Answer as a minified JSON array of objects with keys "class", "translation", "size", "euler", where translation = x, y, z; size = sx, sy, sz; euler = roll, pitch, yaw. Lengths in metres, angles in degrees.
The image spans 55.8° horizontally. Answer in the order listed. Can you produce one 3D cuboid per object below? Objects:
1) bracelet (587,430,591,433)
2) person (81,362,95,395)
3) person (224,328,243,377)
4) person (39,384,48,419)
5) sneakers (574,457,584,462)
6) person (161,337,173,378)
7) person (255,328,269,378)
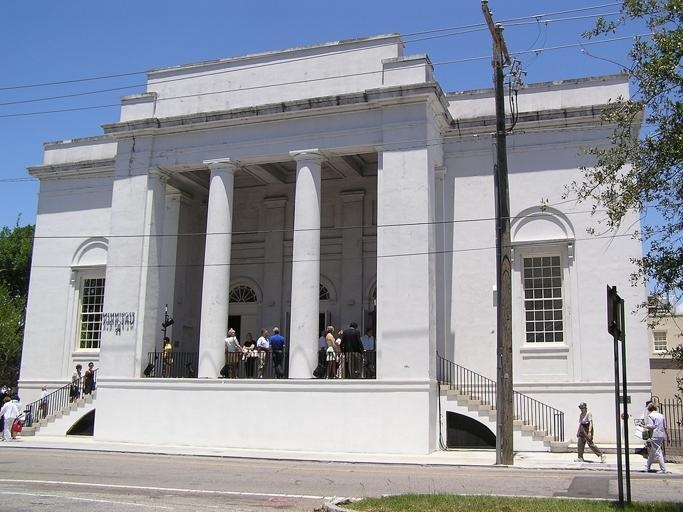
[{"class":"bracelet","translation":[8.149,5.808,21.393],"size":[0.070,0.132,0.073],"euler":[2,-11,7]},{"class":"person","translation":[-11.523,5.613,29.533],"size":[0.497,1.422,1.541],"euler":[4,-13,-20]},{"class":"person","translation":[-4.440,3.998,26.434],"size":[0.691,1.961,0.645],"euler":[2,-12,-9]},{"class":"person","translation":[-14.144,6.932,30.699],"size":[0.370,1.394,1.678],"euler":[5,-13,-23]},{"class":"sneakers","translation":[7.700,6.636,20.999],"size":[0.318,0.141,0.153],"euler":[-2,-13,27]},{"class":"person","translation":[-7.532,4.416,27.921],"size":[0.413,1.591,0.891],"euler":[3,-12,-16]},{"class":"person","translation":[-3.234,4.190,26.668],"size":[0.659,2.225,0.845],"euler":[5,-9,1]}]
